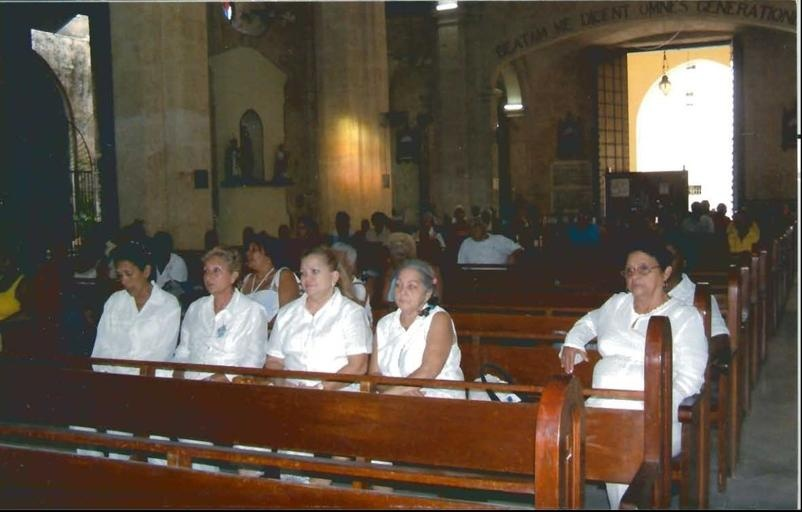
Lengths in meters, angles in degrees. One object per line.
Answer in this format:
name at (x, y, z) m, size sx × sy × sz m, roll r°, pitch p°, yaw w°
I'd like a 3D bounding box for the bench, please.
bench at (-0.635, 1.079, 5.373) m, size 4.946 × 1.359 × 1.306 m, roll 2°, pitch 4°, yaw 12°
